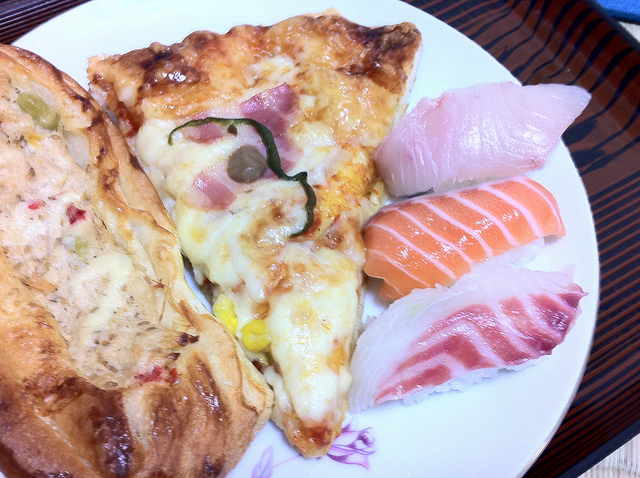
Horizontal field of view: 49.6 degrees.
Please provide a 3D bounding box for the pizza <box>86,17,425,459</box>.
[{"bbox_3d":[-0.152,-0.091,2.663,1.294,0.347,1.704,-8,73,-13],"label":"pizza"}]
